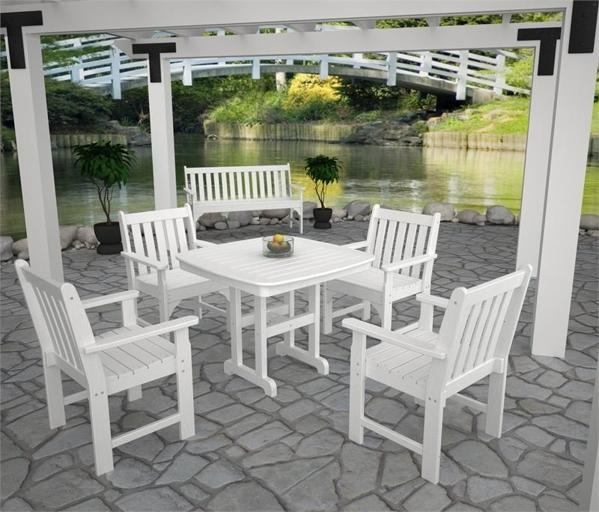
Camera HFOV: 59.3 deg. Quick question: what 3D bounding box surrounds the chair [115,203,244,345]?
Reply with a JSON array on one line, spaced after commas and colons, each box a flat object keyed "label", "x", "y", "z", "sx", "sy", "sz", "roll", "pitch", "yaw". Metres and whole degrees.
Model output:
[{"label": "chair", "x": -0.896, "y": 0.126, "z": 4.035, "sx": 0.867, "sy": 0.788, "sz": 0.725, "roll": -9, "pitch": 30, "yaw": -28}]

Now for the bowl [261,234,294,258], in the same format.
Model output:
[{"label": "bowl", "x": -0.138, "y": -0.066, "z": 3.618, "sx": 0.220, "sy": 0.098, "sz": 0.192, "roll": -5, "pitch": 11, "yaw": -27}]

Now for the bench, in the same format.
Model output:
[{"label": "bench", "x": -0.820, "y": -0.888, "z": 7.891, "sx": 1.640, "sy": 0.642, "sz": 0.507, "roll": 0, "pitch": -12, "yaw": 15}]

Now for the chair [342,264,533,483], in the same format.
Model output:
[{"label": "chair", "x": 0.706, "y": 0.516, "z": 2.817, "sx": 0.886, "sy": 1.031, "sz": 0.696, "roll": -22, "pitch": 30, "yaw": -40}]

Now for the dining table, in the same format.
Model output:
[{"label": "dining table", "x": -0.259, "y": 0.277, "z": 3.801, "sx": 1.335, "sy": 0.802, "sz": 1.314, "roll": -10, "pitch": 15, "yaw": -43}]
